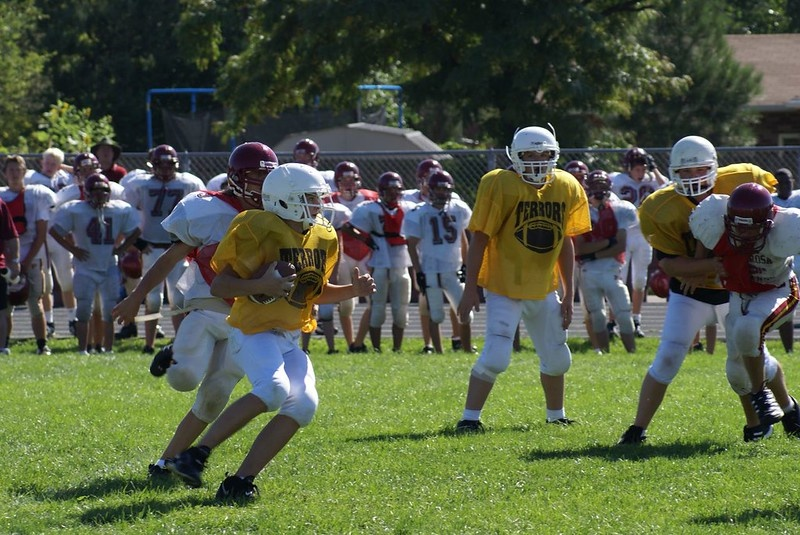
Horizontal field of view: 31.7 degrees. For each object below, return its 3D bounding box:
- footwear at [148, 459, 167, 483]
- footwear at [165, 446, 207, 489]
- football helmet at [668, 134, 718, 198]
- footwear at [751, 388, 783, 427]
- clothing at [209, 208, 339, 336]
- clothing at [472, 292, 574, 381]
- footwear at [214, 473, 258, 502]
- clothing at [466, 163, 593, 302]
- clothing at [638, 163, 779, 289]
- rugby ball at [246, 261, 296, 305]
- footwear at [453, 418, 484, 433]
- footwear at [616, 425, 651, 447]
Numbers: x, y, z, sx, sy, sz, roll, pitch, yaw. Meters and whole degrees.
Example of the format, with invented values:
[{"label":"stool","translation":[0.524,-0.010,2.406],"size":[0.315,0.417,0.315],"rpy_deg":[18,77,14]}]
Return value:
[{"label":"footwear","translation":[-2.600,2.177,15.190],"size":[0.138,0.143,0.318],"rpy_deg":[3,-3,-23]},{"label":"footwear","translation":[-2.192,2.078,14.826],"size":[0.422,0.440,0.270],"rpy_deg":[-1,-3,-3]},{"label":"football helmet","translation":[3.302,-1.208,15.909],"size":[0.512,0.612,0.716],"rpy_deg":[-4,13,17]},{"label":"footwear","translation":[4.071,1.500,15.699],"size":[0.301,0.349,0.840],"rpy_deg":[-16,6,12]},{"label":"clothing","translation":[-1.264,0.053,15.156],"size":[1.484,1.370,0.807],"rpy_deg":[7,4,-41]},{"label":"clothing","translation":[1.473,0.810,16.656],"size":[0.851,1.850,0.402],"rpy_deg":[-8,30,-18]},{"label":"footwear","translation":[-1.699,2.282,14.722],"size":[0.520,0.226,0.191],"rpy_deg":[6,21,-11]},{"label":"clothing","translation":[1.523,-0.382,16.418],"size":[1.727,1.618,0.889],"rpy_deg":[7,2,-12]},{"label":"clothing","translation":[3.190,-0.601,15.717],"size":[1.175,1.570,0.646],"rpy_deg":[10,20,14]},{"label":"rugby ball","translation":[-1.331,0.112,14.810],"size":[0.503,0.306,0.352],"rpy_deg":[-30,-7,9]},{"label":"footwear","translation":[0.782,1.794,16.065],"size":[0.313,0.131,0.134],"rpy_deg":[-1,3,4]},{"label":"footwear","translation":[2.582,1.848,15.614],"size":[0.396,0.150,0.142],"rpy_deg":[-1,-1,-28]}]
